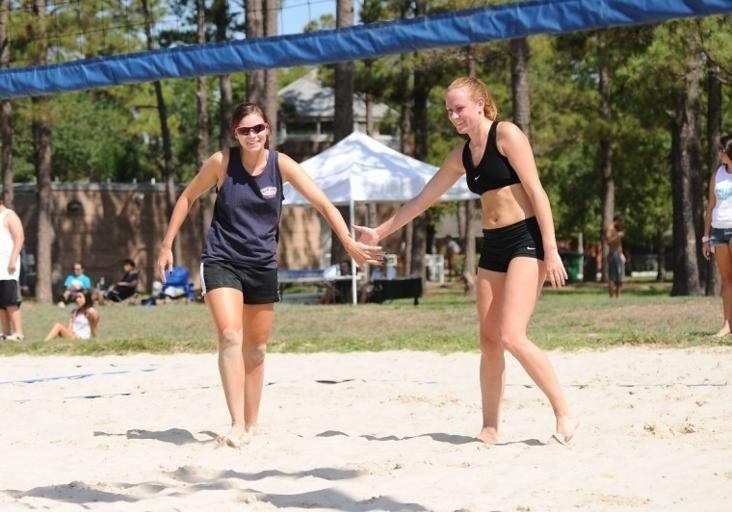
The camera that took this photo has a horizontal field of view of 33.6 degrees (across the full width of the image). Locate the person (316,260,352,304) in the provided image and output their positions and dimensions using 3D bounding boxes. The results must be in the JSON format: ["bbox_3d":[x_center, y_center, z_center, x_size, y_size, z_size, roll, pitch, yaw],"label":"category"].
[{"bbox_3d":[-0.612,0.533,23.181,0.643,0.879,0.904,1,-1,1],"label":"person"}]

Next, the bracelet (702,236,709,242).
[{"bbox_3d":[4.533,-0.211,16.218,0.081,0.067,0.069,-2,-4,16],"label":"bracelet"}]
